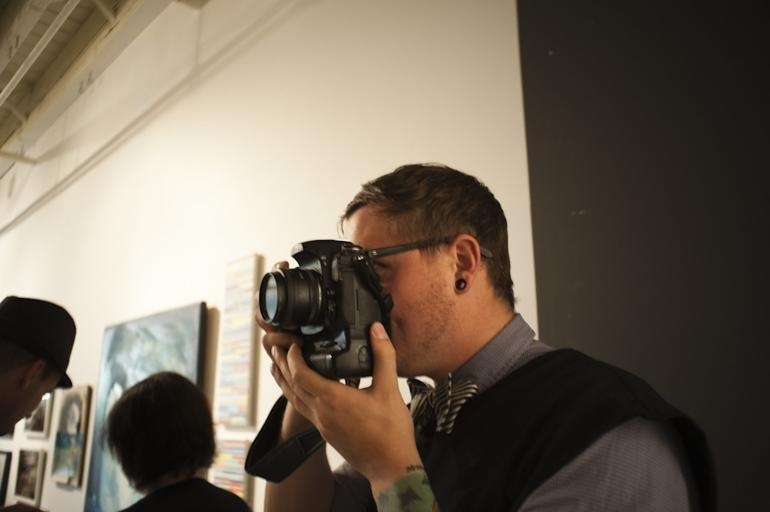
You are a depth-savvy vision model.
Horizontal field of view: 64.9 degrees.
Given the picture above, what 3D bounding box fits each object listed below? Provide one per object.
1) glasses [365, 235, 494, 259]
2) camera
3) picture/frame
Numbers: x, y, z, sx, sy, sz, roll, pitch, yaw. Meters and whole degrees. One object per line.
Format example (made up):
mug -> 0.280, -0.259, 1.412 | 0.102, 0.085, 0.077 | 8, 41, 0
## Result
glasses -> 0.075, -0.027, 1.787 | 0.152, 0.045, 0.149 | -6, 0, -20
camera -> -0.216, 0.146, 1.841 | 0.371, 0.370, 0.376 | 0, -7, -25
picture/frame -> -2.048, 1.142, 3.530 | 0.038, 1.040, 0.892 | 10, -16, -32
